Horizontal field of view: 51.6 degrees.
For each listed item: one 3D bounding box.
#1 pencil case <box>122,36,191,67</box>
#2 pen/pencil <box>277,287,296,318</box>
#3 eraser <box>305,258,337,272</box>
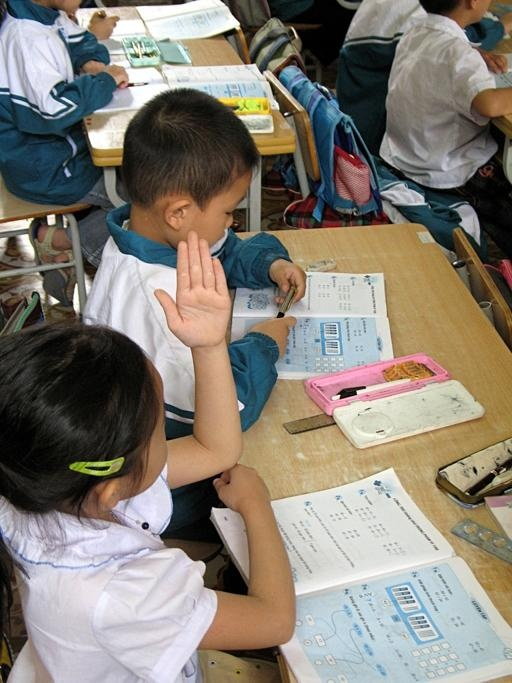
[{"bbox_3d":[-0.458,-1.292,2.371,0.311,0.070,0.277,1,36,-4],"label":"pencil case"},{"bbox_3d":[0.066,-0.081,1.124,0.023,0.023,0.095,18,56,9],"label":"pen/pencil"},{"bbox_3d":[0.169,-0.182,1.283,0.053,0.013,0.038,-5,31,-7],"label":"eraser"}]
